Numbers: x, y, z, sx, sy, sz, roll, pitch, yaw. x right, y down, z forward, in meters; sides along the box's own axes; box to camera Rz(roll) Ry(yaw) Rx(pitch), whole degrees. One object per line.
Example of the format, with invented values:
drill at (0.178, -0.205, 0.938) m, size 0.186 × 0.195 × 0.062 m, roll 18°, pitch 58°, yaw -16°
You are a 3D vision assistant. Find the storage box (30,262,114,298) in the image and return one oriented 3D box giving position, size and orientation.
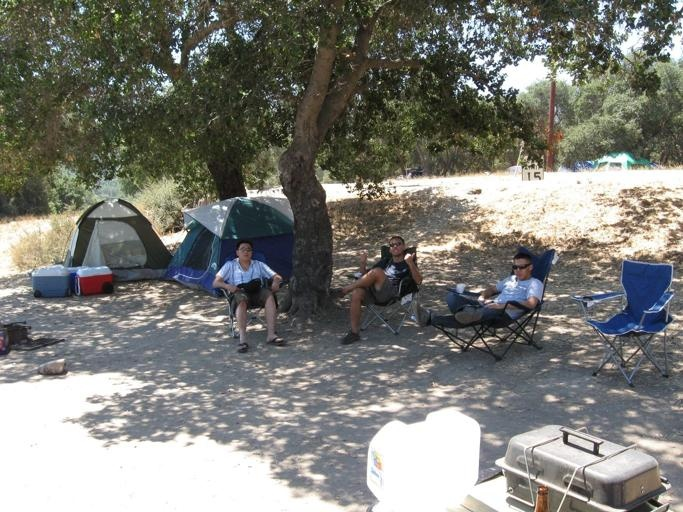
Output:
storage box at (-5.055, 0.500, 12.616) m, size 1.411 × 0.533 × 0.451 m, roll -3°, pitch 14°, yaw -2°

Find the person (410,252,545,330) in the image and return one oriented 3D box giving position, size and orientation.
person at (1.847, 0.457, 8.620) m, size 1.568 × 0.893 × 0.936 m, roll -4°, pitch 7°, yaw -28°

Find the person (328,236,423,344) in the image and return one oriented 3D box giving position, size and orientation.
person at (0.526, 0.441, 9.398) m, size 0.840 × 1.257 × 1.410 m, roll 11°, pitch 19°, yaw 43°

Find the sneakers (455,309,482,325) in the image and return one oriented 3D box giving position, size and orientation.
sneakers at (1.541, 0.741, 8.180) m, size 0.299 × 0.283 × 0.160 m, roll 3°, pitch -6°, yaw 13°

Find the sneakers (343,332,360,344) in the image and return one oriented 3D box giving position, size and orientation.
sneakers at (0.126, 1.104, 9.081) m, size 0.282 × 0.122 × 0.139 m, roll -14°, pitch 18°, yaw -40°

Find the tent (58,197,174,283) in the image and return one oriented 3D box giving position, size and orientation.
tent at (-4.748, -0.251, 14.026) m, size 2.061 × 1.377 × 1.980 m, roll -2°, pitch -9°, yaw -30°

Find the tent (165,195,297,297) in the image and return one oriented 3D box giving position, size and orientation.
tent at (-2.191, -0.418, 13.017) m, size 2.014 × 1.300 × 2.096 m, roll 9°, pitch 11°, yaw 42°

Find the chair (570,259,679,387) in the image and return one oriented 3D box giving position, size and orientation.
chair at (3.263, 0.771, 7.942) m, size 1.102 × 1.302 × 1.074 m, roll 3°, pitch 6°, yaw 29°

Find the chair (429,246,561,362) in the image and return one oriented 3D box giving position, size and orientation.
chair at (1.904, 0.641, 8.646) m, size 1.585 × 1.113 × 1.091 m, roll -12°, pitch 11°, yaw -23°
